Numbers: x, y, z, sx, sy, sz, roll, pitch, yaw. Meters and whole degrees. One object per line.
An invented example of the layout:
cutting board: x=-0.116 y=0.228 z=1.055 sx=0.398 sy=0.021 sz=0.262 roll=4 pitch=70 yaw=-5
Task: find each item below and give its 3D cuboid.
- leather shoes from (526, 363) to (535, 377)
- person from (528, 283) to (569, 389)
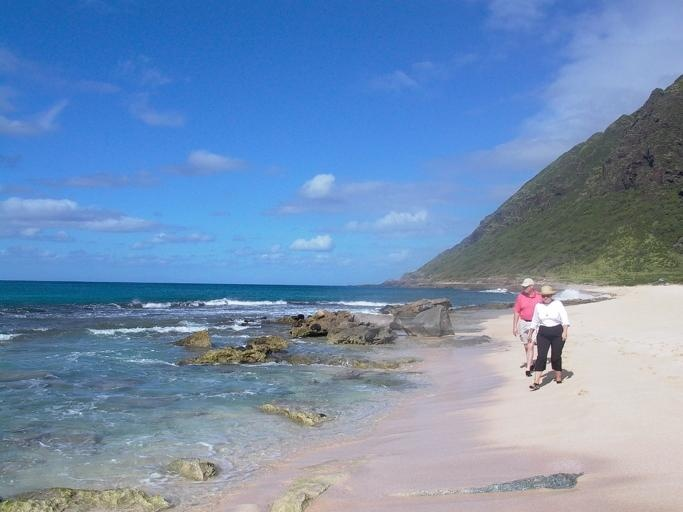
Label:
leather shoes: x=5.381 y=3.287 z=15.875 sx=0.244 sy=0.169 sz=0.600 roll=-3 pitch=13 yaw=29
person: x=5.473 y=2.102 z=14.704 sx=1.028 sy=2.642 sz=1.529 roll=-3 pitch=4 yaw=18
